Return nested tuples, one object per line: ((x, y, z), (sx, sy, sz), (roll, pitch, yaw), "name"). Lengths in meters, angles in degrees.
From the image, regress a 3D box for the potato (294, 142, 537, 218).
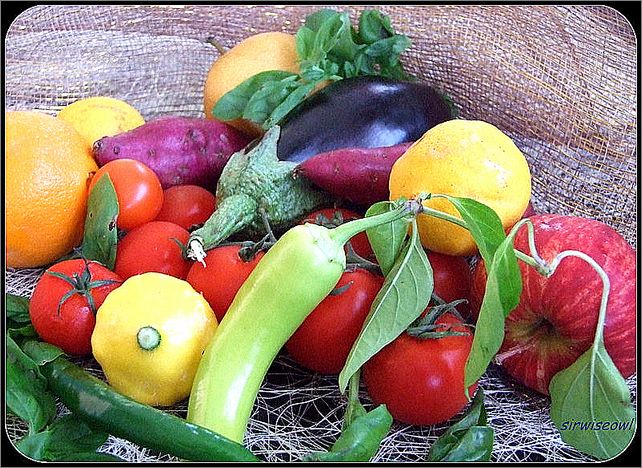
((0.185, -0.122, 1.241), (0.454, 0.177, 0.163), (-5, 56, -10), "potato")

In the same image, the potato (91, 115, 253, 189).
((-0.335, -0.213, 1.341), (0.274, 0.166, 0.313), (5, 16, 27), "potato")

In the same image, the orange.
((-0.575, -0.115, 1.313), (0.237, 0.296, 0.247), (-14, 24, -34), "orange")

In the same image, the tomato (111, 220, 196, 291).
((-0.319, 0.046, 1.169), (0.118, 0.122, 0.135), (-10, 79, 20), "tomato")

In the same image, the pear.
((-0.160, -0.376, 1.512), (0.302, 0.260, 0.217), (-13, 29, -31), "pear")

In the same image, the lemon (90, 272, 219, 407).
((-0.270, 0.174, 1.045), (0.204, 0.120, 0.208), (-39, 86, -1), "lemon")

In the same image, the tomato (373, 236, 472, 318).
((0.194, 0.089, 1.081), (0.117, 0.114, 0.131), (-2, 89, 2), "tomato")

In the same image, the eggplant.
((0.041, -0.148, 1.300), (0.638, 0.239, 0.267), (-25, 33, -15), "eggplant")

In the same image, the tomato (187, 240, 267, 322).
((-0.177, 0.079, 1.117), (0.153, 0.119, 0.167), (14, 22, 33), "tomato")

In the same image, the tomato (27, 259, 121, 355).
((-0.427, 0.121, 1.098), (0.165, 0.174, 0.180), (-16, 22, -40), "tomato")

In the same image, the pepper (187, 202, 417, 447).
((-0.082, 0.139, 0.955), (0.177, 0.125, 0.581), (43, 97, 6), "pepper")

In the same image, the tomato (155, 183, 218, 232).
((-0.277, -0.059, 1.294), (0.154, 0.084, 0.138), (-9, 17, -21), "tomato")

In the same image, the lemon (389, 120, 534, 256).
((0.257, -0.119, 1.092), (0.221, 0.237, 0.276), (8, 21, 24), "lemon")

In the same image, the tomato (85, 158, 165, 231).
((-0.400, -0.082, 1.205), (0.165, 0.152, 0.151), (-8, 76, -41), "tomato")
